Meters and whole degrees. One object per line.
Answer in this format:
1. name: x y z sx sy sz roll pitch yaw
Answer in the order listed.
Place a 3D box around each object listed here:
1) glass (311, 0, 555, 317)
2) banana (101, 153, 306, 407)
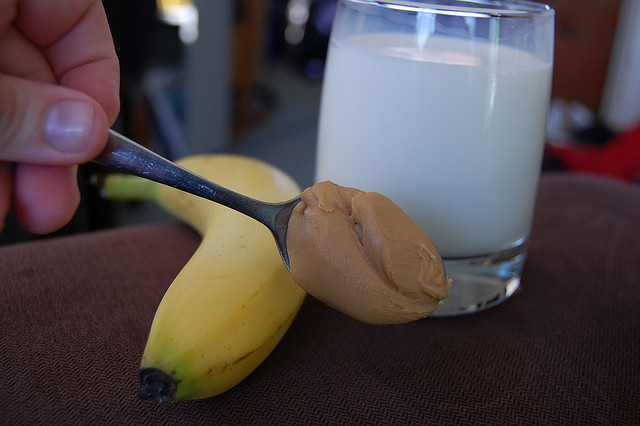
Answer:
1. glass: 0.120 -0.093 0.779 0.287 0.472 0.317 4 15 -4
2. banana: -0.106 0.079 0.615 0.211 0.091 0.339 4 25 -8
